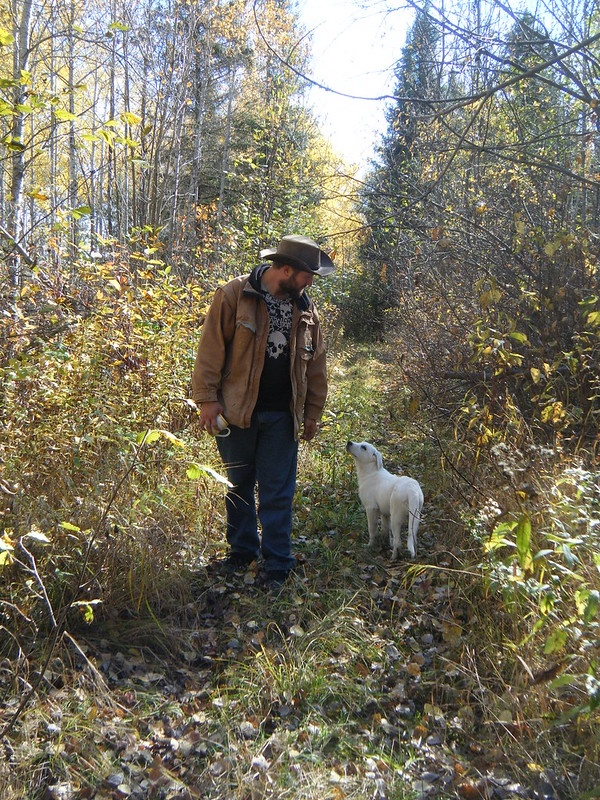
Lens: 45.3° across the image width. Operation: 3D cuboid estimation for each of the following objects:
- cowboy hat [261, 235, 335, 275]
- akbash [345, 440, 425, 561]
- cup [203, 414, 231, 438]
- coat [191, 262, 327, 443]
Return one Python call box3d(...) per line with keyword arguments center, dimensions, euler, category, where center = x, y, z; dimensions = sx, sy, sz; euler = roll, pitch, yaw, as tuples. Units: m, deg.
box3d(center=(0.003, -0.819, 4.431), dimensions=(0.371, 0.126, 0.309), euler=(12, 27, -16), category="cowboy hat")
box3d(center=(0.668, 0.717, 5.046), dimensions=(0.276, 0.714, 1.124), euler=(3, 1, -20), category="akbash")
box3d(center=(-0.498, 0.170, 4.477), dimensions=(0.126, 0.166, 0.232), euler=(5, 6, -1), category="cup")
box3d(center=(-0.206, -0.305, 4.556), dimensions=(0.913, 1.084, 0.315), euler=(1, 8, -34), category="coat")
